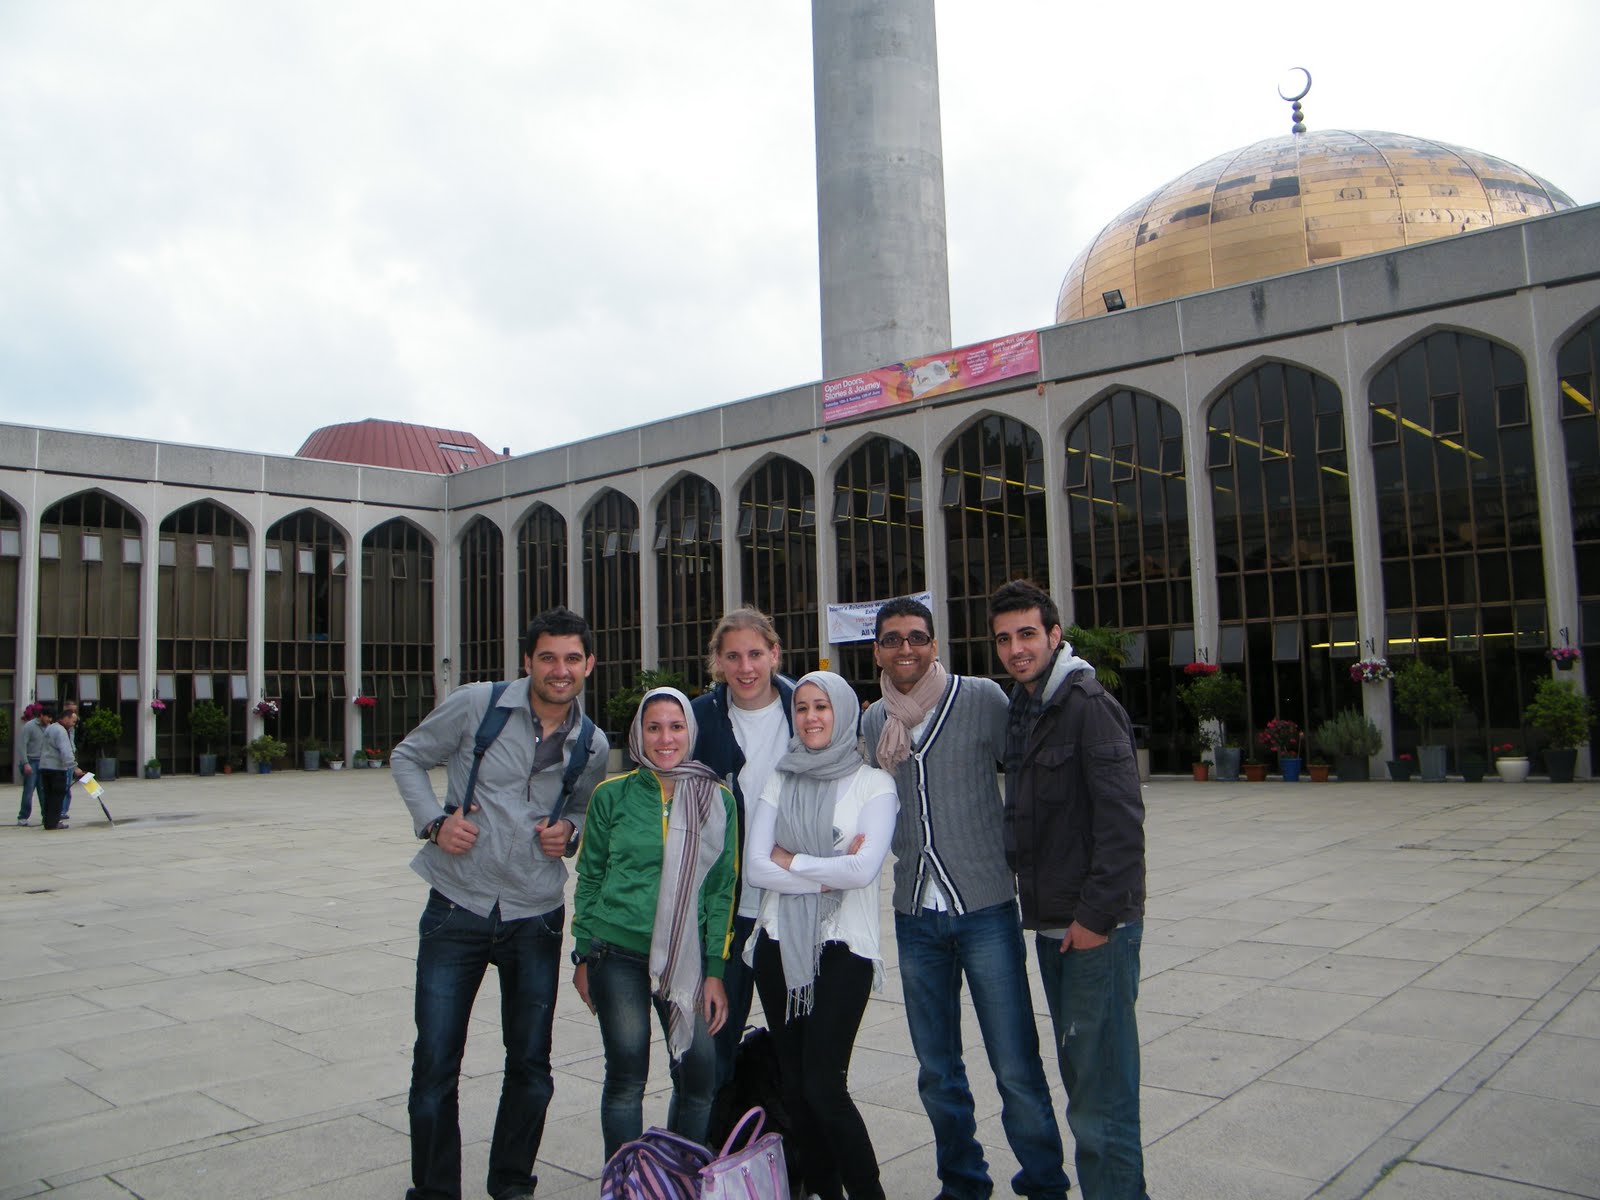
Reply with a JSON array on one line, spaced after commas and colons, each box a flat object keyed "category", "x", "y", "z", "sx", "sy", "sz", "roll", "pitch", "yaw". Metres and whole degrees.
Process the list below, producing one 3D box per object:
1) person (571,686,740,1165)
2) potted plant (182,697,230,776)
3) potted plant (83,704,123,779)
[{"category": "person", "x": -0.675, "y": 1.477, "z": 5.654, "sx": 0.785, "sy": 2.074, "sz": 0.304, "roll": -2, "pitch": -3, "yaw": -10}, {"category": "potted plant", "x": -20.269, "y": 4.700, "z": 41.218, "sx": 1.165, "sy": 2.537, "sz": 1.440, "roll": 0, "pitch": -4, "yaw": -28}, {"category": "potted plant", "x": -22.345, "y": 4.597, "z": 38.492, "sx": 1.158, "sy": 2.316, "sz": 2.306, "roll": 0, "pitch": -4, "yaw": -30}]
